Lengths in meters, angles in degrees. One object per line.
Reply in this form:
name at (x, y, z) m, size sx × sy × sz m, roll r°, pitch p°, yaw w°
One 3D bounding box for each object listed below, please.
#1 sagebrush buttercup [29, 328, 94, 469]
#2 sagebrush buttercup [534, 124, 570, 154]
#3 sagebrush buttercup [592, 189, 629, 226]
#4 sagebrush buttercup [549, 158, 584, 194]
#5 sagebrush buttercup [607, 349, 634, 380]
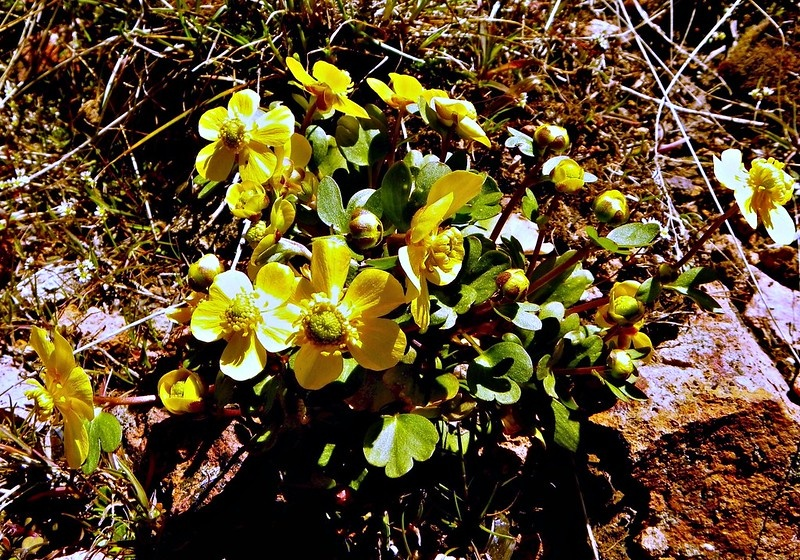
sagebrush buttercup at (-1.358, 0.425, 2.578) m, size 0.153 × 0.342 × 0.414 m, roll -33°, pitch 55°, yaw 0°
sagebrush buttercup at (0.641, -0.592, 2.711) m, size 0.148 × 0.133 × 0.085 m, roll 18°, pitch 51°, yaw 8°
sagebrush buttercup at (0.851, -0.293, 2.558) m, size 0.136 × 0.111 × 0.120 m, roll -15°, pitch 54°, yaw -18°
sagebrush buttercup at (0.691, -0.426, 2.664) m, size 0.126 × 0.116 × 0.144 m, roll 17°, pitch 61°, yaw -21°
sagebrush buttercup at (0.908, 0.346, 2.681) m, size 0.107 × 0.068 × 0.118 m, roll -32°, pitch 93°, yaw -27°
